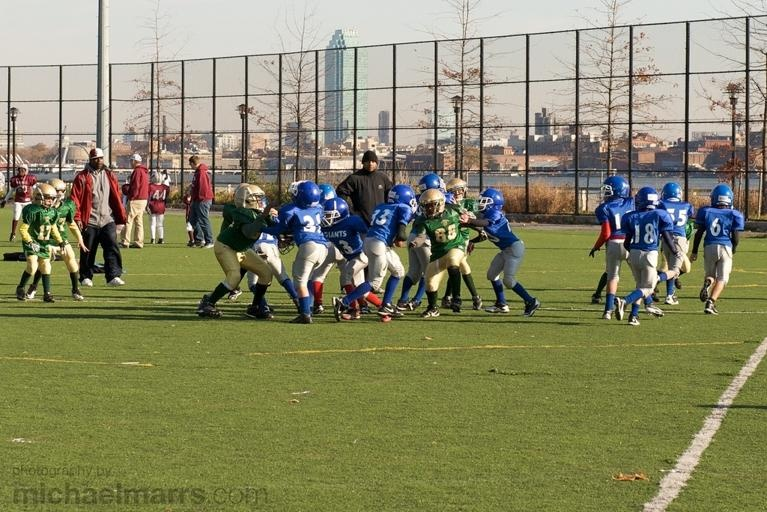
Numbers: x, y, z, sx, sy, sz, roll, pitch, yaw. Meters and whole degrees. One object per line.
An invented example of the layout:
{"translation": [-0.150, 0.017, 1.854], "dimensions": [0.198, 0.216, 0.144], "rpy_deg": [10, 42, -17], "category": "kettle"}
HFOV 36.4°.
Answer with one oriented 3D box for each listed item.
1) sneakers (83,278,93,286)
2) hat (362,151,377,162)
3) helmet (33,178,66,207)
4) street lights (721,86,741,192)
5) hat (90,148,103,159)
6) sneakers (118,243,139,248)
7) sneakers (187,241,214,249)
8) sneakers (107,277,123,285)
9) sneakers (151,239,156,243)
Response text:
{"translation": [-4.856, 0.443, 19.203], "dimensions": [0.090, 0.083, 0.200], "rpy_deg": [-1, -2, -35], "category": "sneakers"}
{"translation": [-0.193, -1.529, 18.042], "dimensions": [0.172, 0.160, 0.211], "rpy_deg": [-1, 12, -8], "category": "hat"}
{"translation": [-5.079, -0.944, 17.719], "dimensions": [0.356, 0.406, 0.616], "rpy_deg": [0, 4, 5], "category": "helmet"}
{"translation": [10.159, -3.445, 33.926], "dimensions": [0.394, 2.972, 0.866], "rpy_deg": [1, 4, 16], "category": "street lights"}
{"translation": [-4.771, -1.688, 19.421], "dimensions": [0.219, 0.128, 0.265], "rpy_deg": [-1, -3, -40], "category": "hat"}
{"translation": [-5.499, -0.209, 25.331], "dimensions": [0.438, 0.154, 0.141], "rpy_deg": [-1, 4, 9], "category": "sneakers"}
{"translation": [-3.978, -0.233, 25.589], "dimensions": [0.617, 0.248, 0.201], "rpy_deg": [-3, 0, 16], "category": "sneakers"}
{"translation": [-4.389, 0.426, 19.071], "dimensions": [0.282, 0.110, 0.102], "rpy_deg": [-2, 1, 32], "category": "sneakers"}
{"translation": [-5.300, -0.325, 26.963], "dimensions": [0.118, 0.100, 0.110], "rpy_deg": [1, -2, -10], "category": "sneakers"}
